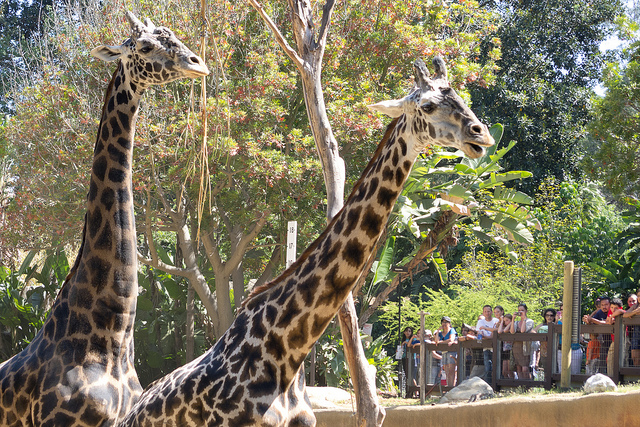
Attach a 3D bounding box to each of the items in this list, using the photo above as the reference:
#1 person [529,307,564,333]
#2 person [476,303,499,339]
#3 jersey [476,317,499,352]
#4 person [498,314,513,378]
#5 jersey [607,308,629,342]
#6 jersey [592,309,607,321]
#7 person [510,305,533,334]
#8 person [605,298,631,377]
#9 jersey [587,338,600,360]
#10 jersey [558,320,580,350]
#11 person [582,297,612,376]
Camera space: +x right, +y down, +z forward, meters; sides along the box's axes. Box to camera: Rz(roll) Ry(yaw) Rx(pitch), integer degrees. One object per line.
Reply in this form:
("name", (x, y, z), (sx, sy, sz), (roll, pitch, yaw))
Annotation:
("person", (6.285, 2.977, 27.682), (1.036, 0.583, 0.367), (-2, -9, -1))
("person", (4.530, 2.953, 26.846), (0.498, 0.826, 0.650), (5, 35, 18))
("jersey", (4.445, 3.228, 26.346), (0.520, 0.779, 0.434), (-20, -40, 25))
("person", (4.857, 3.444, 25.938), (0.385, 1.642, 0.849), (-3, -9, 11))
("jersey", (7.258, 2.736, 24.185), (0.501, 0.796, 0.236), (3, -1, 10))
("jersey", (7.137, 2.569, 25.338), (0.343, 0.291, 0.251), (-4, -10, 16))
("person", (5.404, 2.858, 26.821), (0.524, 0.860, 0.563), (30, -36, -36))
("person", (7.291, 3.012, 24.417), (0.577, 1.962, 0.913), (-3, -9, 13))
("jersey", (6.804, 3.349, 24.713), (0.309, 0.506, 0.104), (-5, -10, 24))
("jersey", (6.289, 3.032, 25.078), (0.522, 0.780, 0.711), (-3, -10, 14))
("person", (7.021, 3.112, 24.694), (0.716, 2.052, 0.651), (0, 6, 28))
